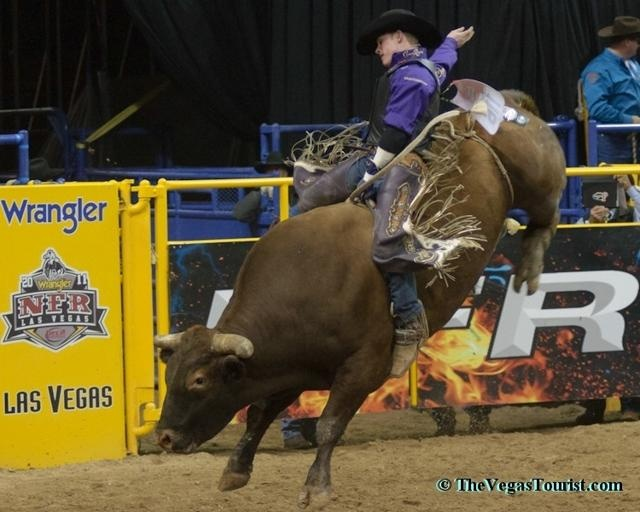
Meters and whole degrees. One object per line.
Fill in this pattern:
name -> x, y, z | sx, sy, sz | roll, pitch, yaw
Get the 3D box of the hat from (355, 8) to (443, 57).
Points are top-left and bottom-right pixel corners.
hat -> 0.588, -1.705, 9.784 | 0.480, 0.172, 0.374 | -1, -23, -11

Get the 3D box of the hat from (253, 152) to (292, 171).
hat -> -0.500, -0.957, 13.503 | 0.399, 0.143, 0.423 | -2, -3, 13

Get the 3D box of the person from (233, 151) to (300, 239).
person -> -0.649, -0.661, 13.306 | 0.855, 0.794, 0.381 | 3, 0, -21

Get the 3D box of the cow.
cow -> 0.238, 0.394, 9.601 | 3.059, 3.022, 0.762 | -5, 13, -28
